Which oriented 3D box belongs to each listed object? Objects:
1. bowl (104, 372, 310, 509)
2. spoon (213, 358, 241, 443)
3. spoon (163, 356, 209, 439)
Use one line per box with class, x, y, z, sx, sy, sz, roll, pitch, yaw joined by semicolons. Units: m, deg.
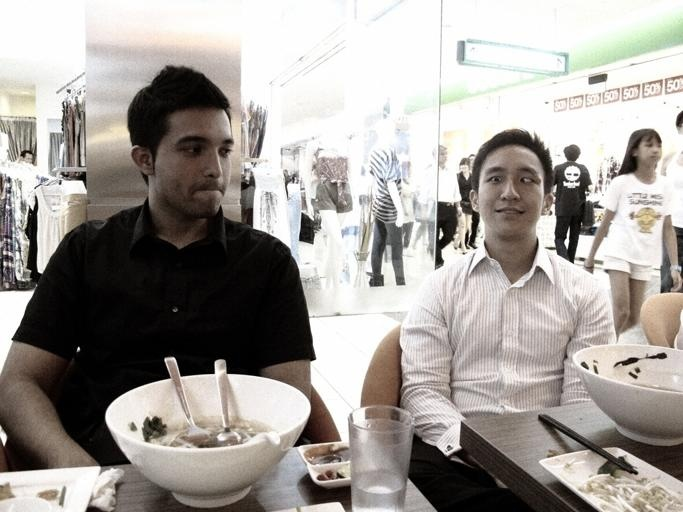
bowl;-0.256;0.363;0.962;0.383;0.182;0.292;-1;5;0
spoon;-0.249;0.323;1.040;0.054;0.035;0.229;-7;31;-15
spoon;-0.335;0.309;1.047;0.061;0.234;0.035;-8;-33;-34
